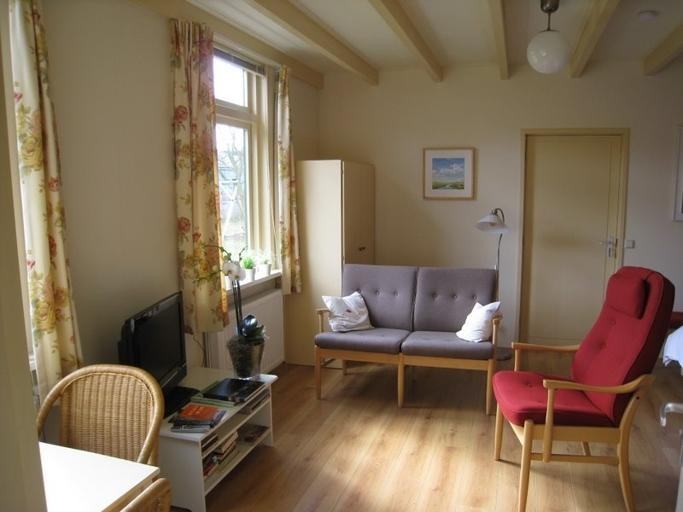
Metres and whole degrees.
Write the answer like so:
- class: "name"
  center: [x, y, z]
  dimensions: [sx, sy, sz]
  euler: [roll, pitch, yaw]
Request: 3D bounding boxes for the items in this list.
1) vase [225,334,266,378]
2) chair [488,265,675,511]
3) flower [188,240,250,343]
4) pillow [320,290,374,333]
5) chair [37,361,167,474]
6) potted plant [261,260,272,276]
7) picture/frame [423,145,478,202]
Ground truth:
- class: "vase"
  center: [-0.610, 0.641, 3.456]
  dimensions: [0.246, 0.234, 0.244]
  euler: [0, 0, 11]
- class: "chair"
  center: [1.672, 0.766, 3.694]
  dimensions: [1.176, 1.894, 1.294]
  euler: [-1, 3, 8]
- class: "flower"
  center: [-0.874, 0.250, 3.836]
  dimensions: [0.379, 0.736, 1.026]
  euler: [-3, 11, -12]
- class: "pillow"
  center: [0.067, 0.479, 4.451]
  dimensions: [0.308, 0.331, 0.094]
  euler: [-2, -23, -28]
- class: "chair"
  center: [-1.116, 0.727, 2.692]
  dimensions: [0.488, 0.721, 0.498]
  euler: [1, 2, 6]
- class: "potted plant"
  center: [-0.675, 0.100, 4.728]
  dimensions: [0.102, 0.128, 0.109]
  euler: [-3, -4, 22]
- class: "picture/frame"
  center: [1.161, -0.891, 5.490]
  dimensions: [0.537, 0.604, 0.022]
  euler: [1, 4, 13]
